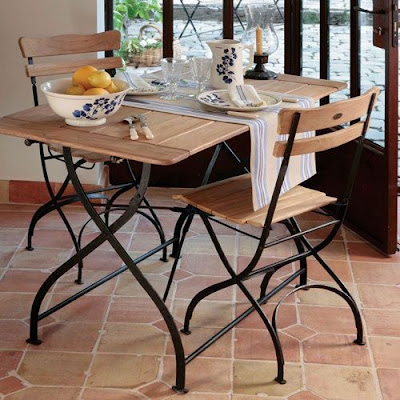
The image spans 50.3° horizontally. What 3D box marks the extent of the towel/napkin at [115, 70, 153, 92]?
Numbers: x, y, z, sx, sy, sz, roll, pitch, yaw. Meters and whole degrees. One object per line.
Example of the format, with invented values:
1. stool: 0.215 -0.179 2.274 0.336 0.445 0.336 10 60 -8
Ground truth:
1. towel/napkin: -0.295 -0.515 1.821 0.142 0.032 0.218 -19 44 -34

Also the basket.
1. basket: -0.274 -1.094 3.001 0.489 0.269 0.277 -1 23 -6

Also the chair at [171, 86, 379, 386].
1. chair: 0.233 0.095 1.480 0.801 0.770 0.658 -7 7 3

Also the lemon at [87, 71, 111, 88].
1. lemon: -0.308 -0.369 1.303 0.069 0.040 0.065 4 16 27

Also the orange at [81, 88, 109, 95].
1. orange: -0.310 -0.323 1.274 0.057 0.025 0.045 5 17 41

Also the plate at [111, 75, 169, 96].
1. plate: -0.260 -0.480 1.786 0.197 0.027 0.232 -22 34 -40

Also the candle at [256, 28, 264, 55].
1. candle: 0.275 -0.730 1.966 0.035 0.123 0.045 2 25 7

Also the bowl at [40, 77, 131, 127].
1. bowl: -0.381 -0.305 1.339 0.288 0.143 0.215 15 25 36
